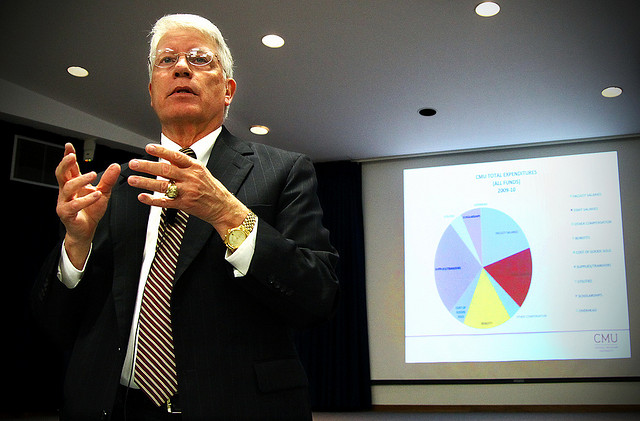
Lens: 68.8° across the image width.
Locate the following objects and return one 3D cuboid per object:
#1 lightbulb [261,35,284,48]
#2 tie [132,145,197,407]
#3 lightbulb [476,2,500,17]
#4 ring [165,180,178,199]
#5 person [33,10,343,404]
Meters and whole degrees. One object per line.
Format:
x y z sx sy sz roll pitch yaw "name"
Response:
-0.409 -1.504 4.132 0.187 0.051 0.132 1 -5 -3 "lightbulb"
-0.501 0.297 1.478 0.139 0.610 0.053 0 -5 6 "tie"
1.340 -1.615 3.738 0.181 0.046 0.134 2 -5 -15 "lightbulb"
-0.431 -0.064 1.365 0.036 0.050 0.015 1 0 6 "ring"
-0.419 -0.061 1.535 0.966 1.348 0.443 0 -5 3 "person"
